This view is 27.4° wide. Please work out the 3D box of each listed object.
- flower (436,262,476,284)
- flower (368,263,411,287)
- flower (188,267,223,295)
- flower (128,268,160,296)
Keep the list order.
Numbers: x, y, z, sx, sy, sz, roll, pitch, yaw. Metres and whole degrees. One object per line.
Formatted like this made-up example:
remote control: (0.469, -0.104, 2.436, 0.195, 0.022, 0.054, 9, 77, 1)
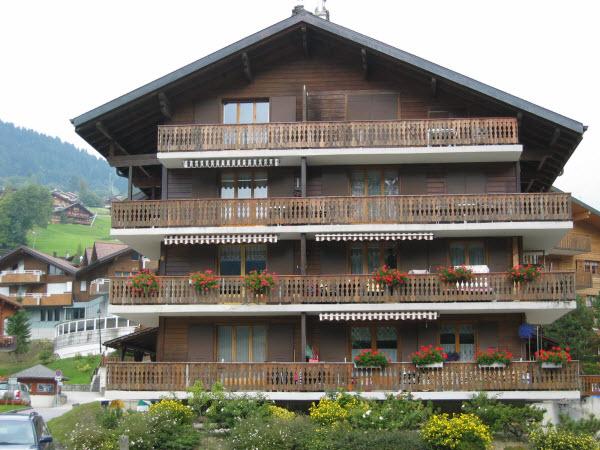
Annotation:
flower: (8.609, 2.680, 68.225, 1.215, 0.807, 1.231, 0, 4, 16)
flower: (5.077, 2.671, 68.573, 1.306, 0.944, 1.344, 3, 4, 8)
flower: (-5.310, 3.045, 69.162, 1.305, 1.019, 1.443, 2, 1, 13)
flower: (-8.751, 3.124, 69.076, 1.377, 1.208, 1.373, 0, 5, -15)
